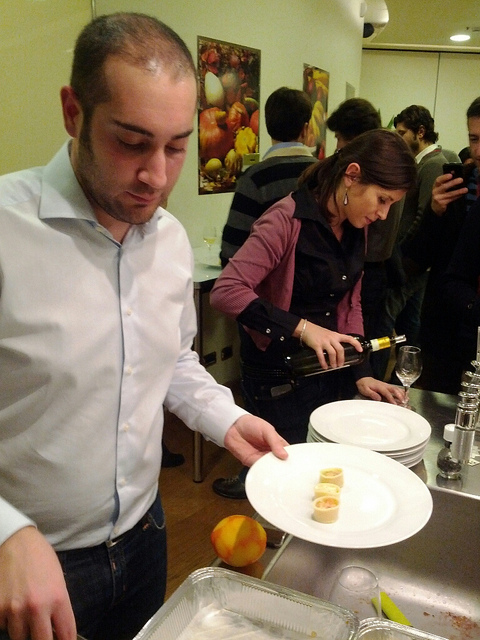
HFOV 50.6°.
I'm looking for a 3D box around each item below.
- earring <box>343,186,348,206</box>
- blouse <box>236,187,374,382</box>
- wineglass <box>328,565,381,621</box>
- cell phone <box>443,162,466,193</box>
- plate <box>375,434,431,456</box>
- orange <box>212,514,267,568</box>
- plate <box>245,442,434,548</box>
[{"bbox_3d":[0.382,-0.451,1.838,0.010,0.062,0.019,-10,19,-29],"label":"earring"},{"bbox_3d":[0.211,-0.088,2.005,0.457,0.757,0.483,4,23,-4],"label":"blouse"},{"bbox_3d":[0.185,0.430,0.806,0.066,0.062,0.065,-1,6,3],"label":"wineglass"},{"bbox_3d":[1.141,-0.769,2.725,0.113,0.157,0.216,6,18,19],"label":"cell phone"},{"bbox_3d":[0.391,0.301,1.235,0.076,0.013,0.077,-5,-1,-4],"label":"plate"},{"bbox_3d":[-0.007,0.394,0.928,0.083,0.094,0.086,1,28,-9],"label":"orange"},{"bbox_3d":[0.169,0.298,0.902,0.312,0.078,0.373,2,16,4],"label":"plate"}]
